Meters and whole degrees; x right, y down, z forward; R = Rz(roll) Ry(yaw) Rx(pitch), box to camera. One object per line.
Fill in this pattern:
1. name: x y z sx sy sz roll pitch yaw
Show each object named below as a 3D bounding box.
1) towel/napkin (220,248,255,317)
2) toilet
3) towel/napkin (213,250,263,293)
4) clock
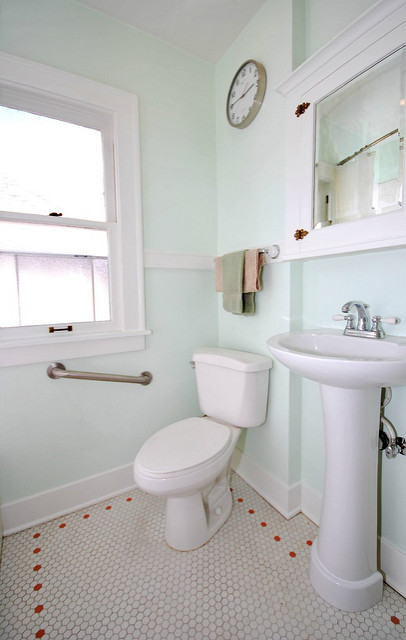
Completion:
1. towel/napkin: 0.152 -0.162 1.822 0.041 0.364 0.241 -3 5 -28
2. toilet: 0.001 0.510 1.670 0.310 0.716 0.559 13 22 35
3. towel/napkin: 0.155 -0.213 1.860 0.066 0.210 0.344 -7 15 -27
4. clock: 0.178 -0.962 1.822 0.044 0.258 0.297 -6 14 -25
